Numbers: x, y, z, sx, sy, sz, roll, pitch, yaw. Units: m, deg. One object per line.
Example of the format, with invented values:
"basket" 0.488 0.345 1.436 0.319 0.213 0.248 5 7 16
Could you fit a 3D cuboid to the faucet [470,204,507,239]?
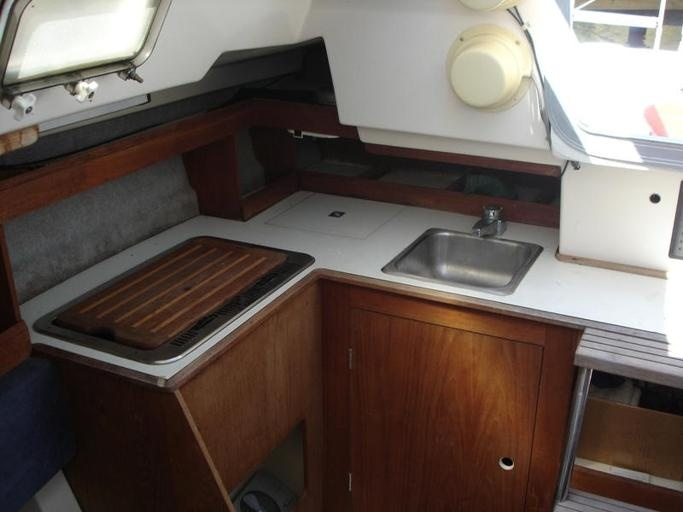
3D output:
"faucet" 0.567 -0.127 2.033 0.111 0.112 0.187 9 11 19
